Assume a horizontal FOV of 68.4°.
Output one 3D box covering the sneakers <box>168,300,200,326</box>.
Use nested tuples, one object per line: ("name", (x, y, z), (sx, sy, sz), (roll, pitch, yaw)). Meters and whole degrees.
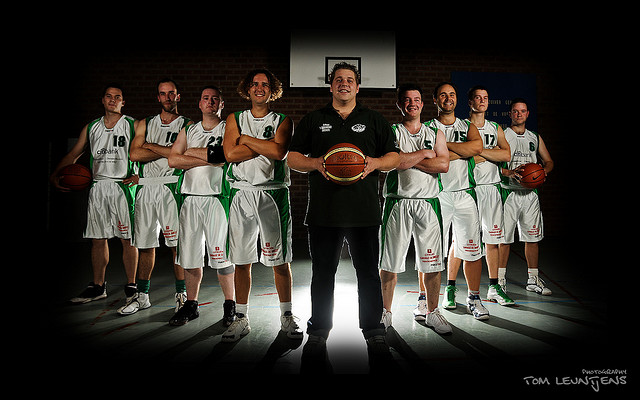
("sneakers", (-1.537, 1.212, 5.208), (0.219, 0.236, 0.430), (0, -9, 28))

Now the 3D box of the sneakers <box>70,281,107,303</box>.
("sneakers", (-2.773, 1.108, 5.684), (0.432, 0.228, 0.213), (2, -2, -41))

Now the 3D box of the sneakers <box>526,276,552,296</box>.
("sneakers", (2.754, 1.069, 5.911), (0.294, 0.212, 0.266), (0, -2, 13))

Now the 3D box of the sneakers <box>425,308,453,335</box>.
("sneakers", (1.288, 1.287, 5.102), (0.180, 0.193, 0.430), (-9, 8, -14))

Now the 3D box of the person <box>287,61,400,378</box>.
("person", (0.238, 0.146, 4.666), (1.075, 3.026, 0.410), (0, -3, 7))

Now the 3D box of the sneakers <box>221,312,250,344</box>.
("sneakers", (-0.894, 1.327, 4.961), (0.185, 0.195, 0.486), (12, 5, 20))

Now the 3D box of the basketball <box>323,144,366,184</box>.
("basketball", (0.234, -0.354, 4.667), (0.486, 0.397, 0.360), (1, 5, 2))

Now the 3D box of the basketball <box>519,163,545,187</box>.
("basketball", (2.584, -0.301, 5.704), (0.365, 0.312, 0.163), (1, -3, -15))

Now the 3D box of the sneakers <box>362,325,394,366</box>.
("sneakers", (0.575, 1.435, 4.605), (0.178, 0.195, 0.459), (-6, 35, 4))

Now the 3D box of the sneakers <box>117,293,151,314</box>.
("sneakers", (-2.123, 1.200, 5.390), (0.157, 0.150, 0.367), (2, -3, 27))

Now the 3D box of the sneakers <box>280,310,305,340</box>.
("sneakers", (-0.300, 1.314, 5.036), (0.194, 0.218, 0.407), (-9, 9, -26))
